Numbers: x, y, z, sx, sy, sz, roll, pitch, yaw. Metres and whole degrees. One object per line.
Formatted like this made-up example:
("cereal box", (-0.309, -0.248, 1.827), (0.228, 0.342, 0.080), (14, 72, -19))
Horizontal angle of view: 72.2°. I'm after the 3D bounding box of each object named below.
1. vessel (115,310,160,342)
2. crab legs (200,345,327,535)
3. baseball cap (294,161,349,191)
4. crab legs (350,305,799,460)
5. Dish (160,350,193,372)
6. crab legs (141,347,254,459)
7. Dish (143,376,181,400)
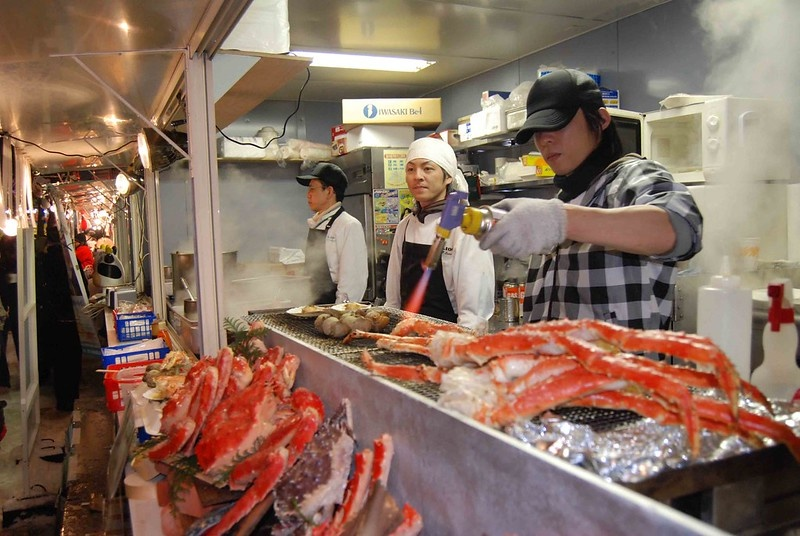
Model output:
("vessel", (-2.307, 0.502, 4.779), (0.262, 0.164, 0.262), (-2, 6, -27))
("crab legs", (-0.504, 0.620, 2.031), (0.452, 0.155, 0.508), (-38, 23, -15))
("baseball cap", (-0.584, -0.739, 4.363), (0.450, 0.238, 0.302), (15, 4, -9))
("crab legs", (0.573, 0.345, 1.638), (1.051, 0.365, 0.324), (-1, 7, 18))
("Dish", (-1.273, 0.528, 3.160), (0.118, 0.060, 0.152), (5, -8, 8))
("crab legs", (-0.887, 0.517, 2.355), (0.373, 0.424, 0.343), (13, 12, 42))
("Dish", (-1.208, 0.616, 2.813), (0.180, 0.055, 0.178), (-8, 2, -16))
